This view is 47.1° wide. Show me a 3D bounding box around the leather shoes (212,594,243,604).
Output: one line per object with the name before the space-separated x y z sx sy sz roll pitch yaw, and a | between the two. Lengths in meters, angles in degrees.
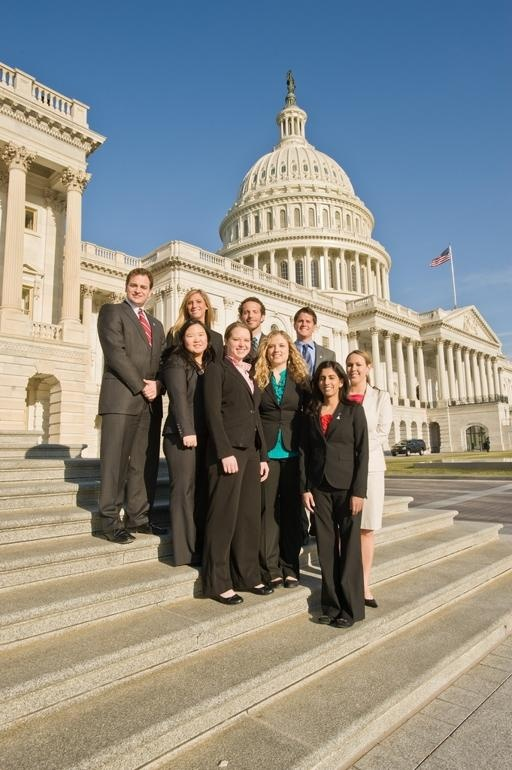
leather shoes | -0.201 1.536 4.209 0.205 0.065 0.067 -12 -18 35

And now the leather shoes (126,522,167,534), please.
leather shoes | -0.970 1.307 5.255 0.369 0.169 0.124 0 -4 -5

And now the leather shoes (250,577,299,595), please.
leather shoes | 0.149 1.560 4.623 0.392 0.116 0.130 7 -13 -39

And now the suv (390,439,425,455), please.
suv | 13.253 5.426 51.194 1.389 1.177 3.116 -12 -18 42

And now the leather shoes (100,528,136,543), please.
leather shoes | -1.165 1.251 4.842 0.272 0.100 0.108 -9 -14 36

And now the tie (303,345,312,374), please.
tie | 0.570 -0.288 6.446 0.168 0.271 0.064 -5 2 -28

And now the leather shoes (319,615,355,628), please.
leather shoes | 0.563 1.657 4.084 0.233 0.085 0.085 -5 -8 18
